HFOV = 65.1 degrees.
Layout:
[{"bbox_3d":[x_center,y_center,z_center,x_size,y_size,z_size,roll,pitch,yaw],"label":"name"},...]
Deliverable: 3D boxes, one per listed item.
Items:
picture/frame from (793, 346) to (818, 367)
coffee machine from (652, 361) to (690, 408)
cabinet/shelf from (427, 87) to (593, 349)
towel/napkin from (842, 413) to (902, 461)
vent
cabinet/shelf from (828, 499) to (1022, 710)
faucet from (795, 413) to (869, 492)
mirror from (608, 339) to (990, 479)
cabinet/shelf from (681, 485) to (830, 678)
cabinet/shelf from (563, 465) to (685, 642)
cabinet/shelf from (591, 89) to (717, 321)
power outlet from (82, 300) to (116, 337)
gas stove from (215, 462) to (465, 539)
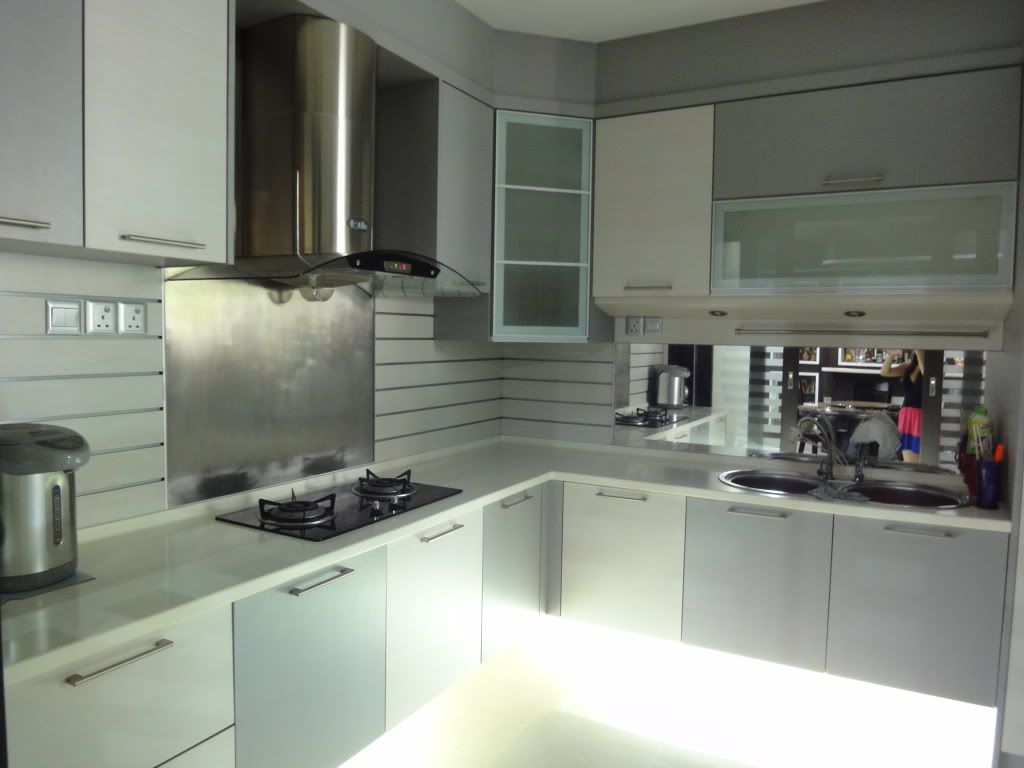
[{"bbox_3d":[1.423,-0.155,3.912,0.136,0.132,0.075,4,9,40],"label":"picture/frame"},{"bbox_3d":[0.832,0.020,4.188,0.225,0.244,0.151,-1,5,16],"label":"coffee machine"},{"bbox_3d":[0.149,-0.896,4.312,0.596,1.263,1.003,4,30,6],"label":"cabinet/shelf"},{"bbox_3d":[1.731,0.232,3.774,0.147,0.200,0.197,5,16,25],"label":"towel/napkin"},{"bbox_3d":[-0.753,-0.891,3.076,1.229,0.920,1.273,-3,14,-20],"label":"vent"},{"bbox_3d":[1.659,0.870,3.465,0.754,0.875,0.639,3,6,29],"label":"cabinet/shelf"},{"bbox_3d":[1.519,0.322,3.786,0.230,0.396,0.397,2,10,35],"label":"faucet"},{"bbox_3d":[1.581,0.103,3.890,1.613,0.628,0.014,1,4,-4],"label":"mirror"},{"bbox_3d":[1.059,0.900,3.779,0.819,0.866,0.633,-12,-29,44],"label":"cabinet/shelf"},{"bbox_3d":[0.556,0.799,3.914,0.612,0.707,0.473,4,11,14],"label":"cabinet/shelf"},{"bbox_3d":[0.675,-0.856,3.875,0.642,0.946,0.212,7,11,17],"label":"cabinet/shelf"},{"bbox_3d":[-1.379,-0.220,2.653,0.064,0.127,0.127,2,0,27],"label":"power outlet"},{"bbox_3d":[-0.662,0.452,3.180,0.556,0.117,0.892,10,13,30],"label":"gas stove"}]
